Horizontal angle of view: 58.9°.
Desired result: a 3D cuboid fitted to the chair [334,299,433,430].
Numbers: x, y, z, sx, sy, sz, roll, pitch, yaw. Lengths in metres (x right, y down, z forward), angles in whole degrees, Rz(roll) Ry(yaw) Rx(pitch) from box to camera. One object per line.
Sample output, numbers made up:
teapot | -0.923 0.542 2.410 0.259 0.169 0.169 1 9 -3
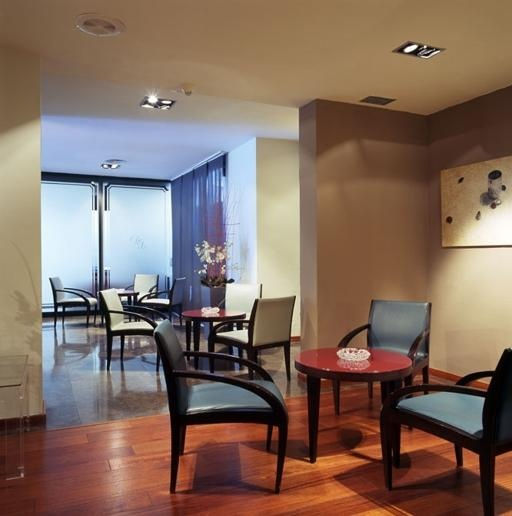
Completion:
chair | 1.199 0.821 3.890 0.830 1.290 0.859 0 -3 37

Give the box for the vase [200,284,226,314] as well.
vase | -0.635 0.594 6.598 0.330 0.663 0.344 0 -1 3

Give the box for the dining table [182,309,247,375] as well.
dining table | -0.526 0.913 5.224 0.639 0.505 0.651 2 -3 -26

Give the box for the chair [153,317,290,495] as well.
chair | -0.120 0.812 2.897 0.854 1.143 0.769 -1 1 -3

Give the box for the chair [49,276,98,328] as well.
chair | -3.384 0.751 8.527 1.003 1.251 0.874 0 1 -5

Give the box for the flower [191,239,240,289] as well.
flower | -0.658 0.056 7.427 0.543 0.738 1.585 0 1 -7
